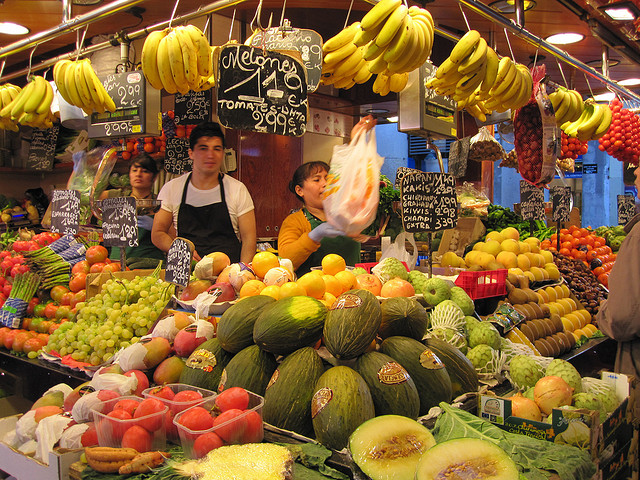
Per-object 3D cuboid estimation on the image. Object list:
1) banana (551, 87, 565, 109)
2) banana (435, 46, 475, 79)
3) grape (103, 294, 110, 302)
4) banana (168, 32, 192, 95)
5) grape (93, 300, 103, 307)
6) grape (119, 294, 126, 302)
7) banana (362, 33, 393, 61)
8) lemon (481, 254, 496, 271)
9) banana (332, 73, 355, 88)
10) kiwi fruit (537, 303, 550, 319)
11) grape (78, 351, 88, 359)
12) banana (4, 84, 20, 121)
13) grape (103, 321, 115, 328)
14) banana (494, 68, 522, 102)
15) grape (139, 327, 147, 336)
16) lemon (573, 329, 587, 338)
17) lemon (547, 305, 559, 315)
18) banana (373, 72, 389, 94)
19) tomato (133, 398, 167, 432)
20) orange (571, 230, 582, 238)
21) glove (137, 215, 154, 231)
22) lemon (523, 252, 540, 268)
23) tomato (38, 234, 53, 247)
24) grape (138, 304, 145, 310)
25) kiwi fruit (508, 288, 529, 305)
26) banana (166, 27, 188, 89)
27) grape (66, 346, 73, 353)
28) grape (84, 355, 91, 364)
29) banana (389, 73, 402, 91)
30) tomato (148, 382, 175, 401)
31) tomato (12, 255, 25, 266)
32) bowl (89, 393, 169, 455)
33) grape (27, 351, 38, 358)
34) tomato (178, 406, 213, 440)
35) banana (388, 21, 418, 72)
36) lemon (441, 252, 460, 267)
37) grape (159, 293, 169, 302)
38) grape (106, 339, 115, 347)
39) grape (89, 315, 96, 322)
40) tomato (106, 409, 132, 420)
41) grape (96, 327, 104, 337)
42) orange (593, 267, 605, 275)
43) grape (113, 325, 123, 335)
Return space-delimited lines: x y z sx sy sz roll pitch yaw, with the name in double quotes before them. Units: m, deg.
"banana" 2.260 -1.352 4.578 0.137 0.199 0.075 -3 12 -29
"banana" 0.968 -1.290 3.576 0.108 0.144 0.406 -25 -9 -21
"grape" -1.310 0.352 2.939 0.039 0.035 0.034 8 28 -28
"banana" -1.044 -1.266 3.503 0.086 0.392 0.133 1 28 9
"grape" -1.366 0.385 2.959 0.040 0.035 0.035 10 44 4
"grape" -1.192 0.350 2.896 0.036 0.032 0.031 7 11 38
"banana" 0.344 -1.223 3.078 0.062 0.078 0.232 32 -1 -4
"lemon" 1.276 0.163 3.639 0.098 0.088 0.211 12 14 39
"banana" 0.204 -1.350 4.166 0.094 0.071 0.265 -23 3 -12
"kiwi fruit" 1.574 0.489 3.346 0.078 0.110 0.103 -3 -12 -4
"grape" -1.381 0.667 2.799 0.037 0.042 0.039 4 2 -11
"banana" -3.061 -1.355 4.761 0.101 0.398 0.137 -4 -12 -9
"grape" -1.229 0.488 2.806 0.045 0.024 0.049 12 14 37
"banana" 1.536 -1.277 3.926 0.052 0.262 0.091 31 0 8
"grape" -1.031 0.531 2.814 0.041 0.044 0.050 -4 9 -15
"lemon" 1.928 0.687 3.569 0.059 0.034 0.061 0 14 -4
"lemon" 1.694 0.502 3.477 0.070 0.039 0.072 18 2 31
"banana" 0.515 -1.328 4.078 0.069 0.086 0.237 43 -11 9
"tomato" -0.665 0.697 1.930 0.116 0.147 0.123 0 10 -19
"orange" 2.964 -0.071 5.519 0.104 0.093 0.091 0 22 7
"glove" -1.699 -0.173 4.675 0.129 0.152 0.281 -1 12 -19
"lemon" 1.702 0.147 3.852 0.101 0.106 0.121 -2 29 -31
"tomato" -2.392 0.004 4.188 0.096 0.099 0.095 -12 2 -33
"grape" -1.045 0.390 2.813 0.031 0.029 0.027 12 17 20
"kiwi fruit" 1.356 0.385 3.263 0.137 0.084 0.120 6 11 16
"banana" -1.049 -1.301 3.494 0.098 0.433 0.148 5 22 27
"grape" -1.514 0.660 2.897 0.037 0.039 0.044 -5 7 -19
"grape" -1.358 0.694 2.800 0.030 0.040 0.029 23 21 25
"banana" 0.646 -1.354 4.142 0.108 0.124 0.192 0 11 -13
"tomato" -0.670 0.638 2.023 0.063 0.068 0.065 3 4 16
"tomato" -2.453 0.159 3.912 0.065 0.068 0.067 27 42 35
"bowl" -0.778 0.698 1.926 0.207 0.161 0.276 5 -10 -39
"grape" -1.824 0.724 3.043 0.047 0.038 0.037 -2 25 4
"tomato" -0.470 0.688 1.851 0.101 0.130 0.105 5 -1 -42
"banana" 0.556 -1.240 3.093 0.081 0.258 0.198 27 -22 -2
"lemon" 1.073 0.159 3.954 0.118 0.142 0.111 21 41 11
"grape" -0.945 0.345 2.890 0.036 0.048 0.021 -2 1 -32
"grape" -1.198 0.587 2.743 0.035 0.036 0.035 -13 19 -22
"grape" -1.381 0.477 2.921 0.039 0.037 0.027 7 11 20
"tomato" -0.784 0.681 1.875 0.046 0.028 0.048 -7 -23 34
"grape" -1.273 0.529 2.768 0.036 0.040 0.043 -7 22 -32
"orange" 2.936 0.327 5.041 0.090 0.081 0.077 1 9 -12
"grape" -1.172 0.521 2.782 0.051 0.054 0.028 -2 12 -24
